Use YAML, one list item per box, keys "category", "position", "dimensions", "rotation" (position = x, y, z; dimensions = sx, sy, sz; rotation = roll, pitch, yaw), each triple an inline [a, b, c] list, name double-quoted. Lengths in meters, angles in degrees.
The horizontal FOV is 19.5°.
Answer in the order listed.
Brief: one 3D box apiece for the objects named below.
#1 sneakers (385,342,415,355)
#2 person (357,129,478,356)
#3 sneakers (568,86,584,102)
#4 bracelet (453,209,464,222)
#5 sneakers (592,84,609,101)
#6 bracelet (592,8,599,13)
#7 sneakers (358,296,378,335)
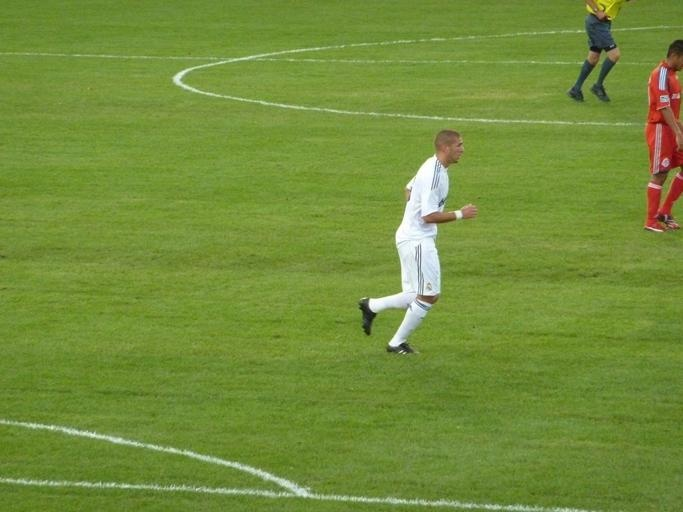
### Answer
- category: "sneakers"
  position: [0.800, 1.231, 26.852]
  dimensions: [0.450, 0.154, 0.135]
  rotation: [0, 0, 3]
- category: "person"
  position: [1.041, -0.224, 26.759]
  dimensions: [1.329, 2.993, 0.986]
  rotation: [3, 21, 2]
- category: "sneakers"
  position: [3.974, -2.820, 34.546]
  dimensions: [0.357, 0.201, 0.168]
  rotation: [-5, 26, -21]
- category: "bracelet"
  position: [1.564, -0.566, 26.480]
  dimensions: [0.146, 0.118, 0.131]
  rotation: [-2, -2, -11]
- category: "sneakers"
  position: [4.468, -2.863, 34.707]
  dimensions: [0.380, 0.189, 0.134]
  rotation: [38, 70, 19]
- category: "bracelet"
  position: [4.311, -4.201, 33.933]
  dimensions: [0.074, 0.039, 0.079]
  rotation: [-1, -3, -8]
- category: "sneakers"
  position: [0.315, 0.819, 27.104]
  dimensions: [0.225, 0.509, 0.276]
  rotation: [-13, 24, -29]
